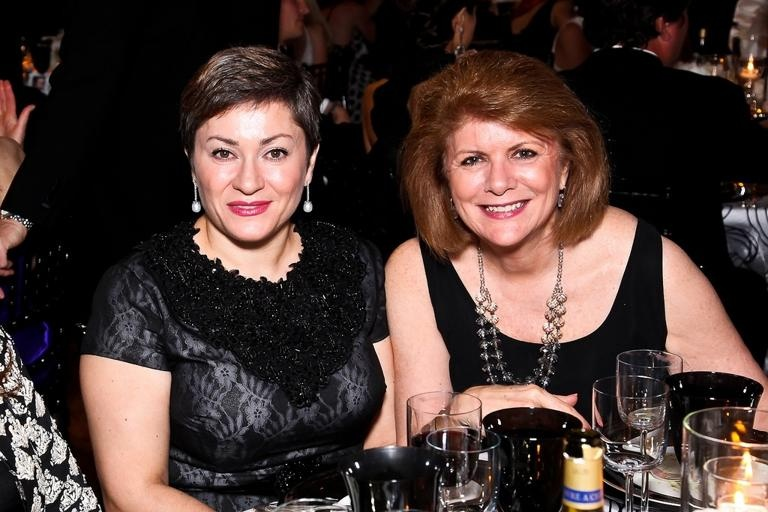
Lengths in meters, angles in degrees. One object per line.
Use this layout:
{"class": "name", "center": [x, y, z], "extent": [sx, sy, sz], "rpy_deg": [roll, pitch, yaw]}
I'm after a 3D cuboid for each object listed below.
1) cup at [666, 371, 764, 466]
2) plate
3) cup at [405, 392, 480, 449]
{"class": "cup", "center": [0.893, 0.432, 1.997], "extent": [0.273, 0.249, 0.267], "rpy_deg": [1, 8, 0]}
{"class": "plate", "center": [0.752, 0.528, 1.737], "extent": [0.253, 0.043, 0.260], "rpy_deg": [0, 26, 3]}
{"class": "cup", "center": [0.162, 0.507, 2.053], "extent": [0.237, 0.235, 0.223], "rpy_deg": [4, -17, 1]}
